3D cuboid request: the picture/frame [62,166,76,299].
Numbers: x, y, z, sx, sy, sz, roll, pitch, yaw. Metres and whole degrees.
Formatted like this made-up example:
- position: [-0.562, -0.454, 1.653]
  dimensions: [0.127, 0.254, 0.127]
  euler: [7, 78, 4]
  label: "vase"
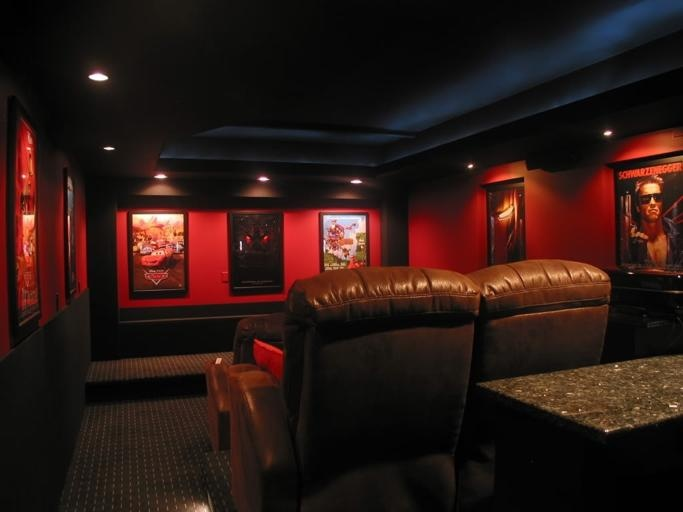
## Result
- position: [-2.580, -0.223, 4.464]
  dimensions: [0.065, 1.185, 0.957]
  euler: [-2, 3, -28]
  label: "picture/frame"
